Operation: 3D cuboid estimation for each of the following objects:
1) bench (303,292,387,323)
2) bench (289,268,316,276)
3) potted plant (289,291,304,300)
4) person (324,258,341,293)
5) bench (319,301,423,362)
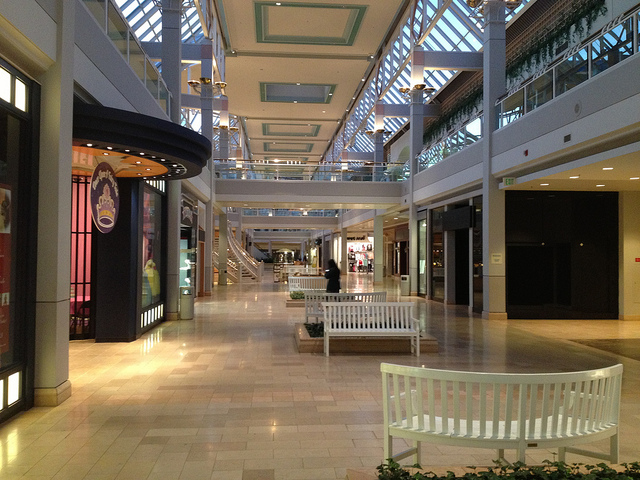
[{"bbox_3d":[0.697,1.818,12.994,2.215,0.919,0.694,-1,1,-6],"label":"bench"},{"bbox_3d":[-1.152,1.983,30.502,1.600,0.402,3.556,0,-1,-3],"label":"bench"},{"bbox_3d":[-0.925,2.101,18.232,0.304,0.210,0.300,0,1,-22],"label":"potted plant"},{"bbox_3d":[0.368,1.074,14.113,0.398,0.977,0.854,0,-1,1],"label":"person"},{"bbox_3d":[0.984,1.848,9.828,1.950,1.120,0.648,0,-2,-2],"label":"bench"}]
